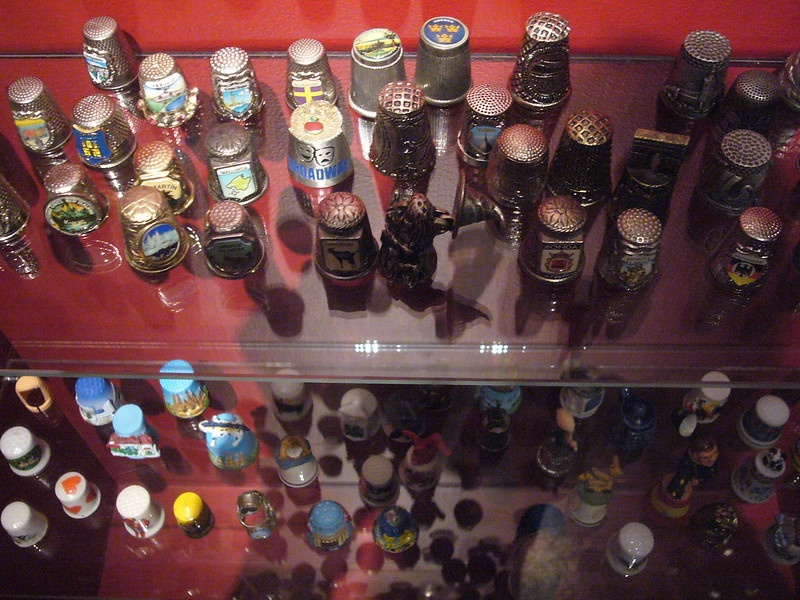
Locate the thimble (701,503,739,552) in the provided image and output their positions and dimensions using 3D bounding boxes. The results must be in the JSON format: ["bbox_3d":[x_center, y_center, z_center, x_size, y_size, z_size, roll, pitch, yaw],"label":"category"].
[{"bbox_3d":[0.754,0.529,1.513,0.084,0.088,0.089,14,47,18],"label":"thimble"}]

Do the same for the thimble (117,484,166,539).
[{"bbox_3d":[-0.605,0.499,1.501,0.081,0.077,0.074,31,55,22],"label":"thimble"}]
